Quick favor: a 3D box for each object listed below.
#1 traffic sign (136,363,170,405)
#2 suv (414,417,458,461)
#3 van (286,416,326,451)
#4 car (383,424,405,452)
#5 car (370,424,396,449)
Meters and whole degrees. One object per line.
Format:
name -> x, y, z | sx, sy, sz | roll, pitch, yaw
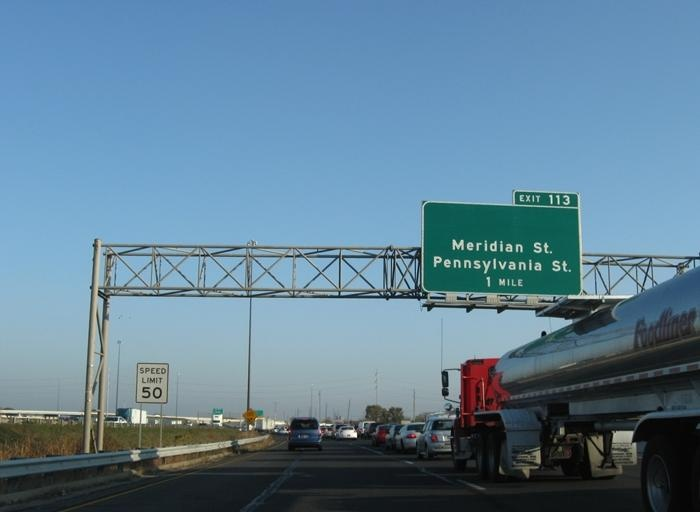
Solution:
traffic sign -> -6.816, 4.370, 33.345 | 1.067, 1.340, 0.681 | 5, -9, -14
suv -> 3.500, 7.363, 39.441 | 1.233, 1.121, 2.668 | 2, -7, -5
van -> -2.344, 9.266, 50.349 | 1.645, 1.739, 1.887 | 4, -9, -6
car -> 2.310, 9.541, 51.070 | 0.931, 0.882, 2.041 | 2, -10, -5
car -> 2.149, 11.238, 60.220 | 1.325, 1.075, 2.744 | 1, -6, -1
